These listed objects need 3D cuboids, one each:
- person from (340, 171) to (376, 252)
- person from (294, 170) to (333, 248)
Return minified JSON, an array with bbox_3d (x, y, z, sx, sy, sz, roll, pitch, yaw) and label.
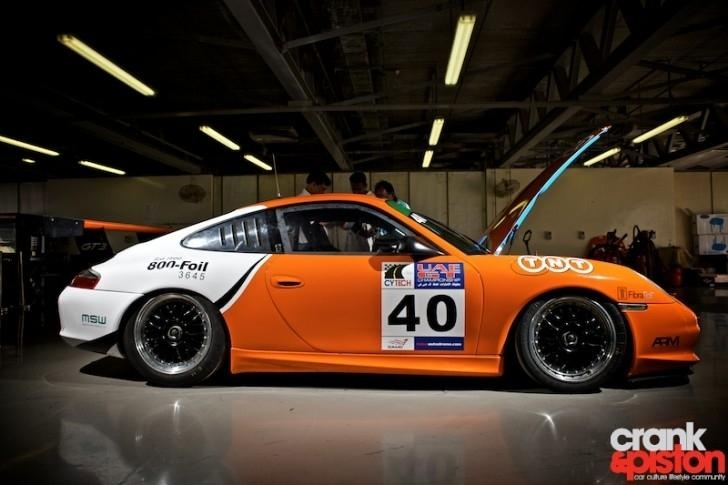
[{"bbox_3d":[-0.103,-0.197,7.419,0.462,1.450,0.377,-6,29,-12],"label":"person"},{"bbox_3d":[-0.785,-0.236,8.678,0.515,1.687,0.504,5,-12,-39],"label":"person"}]
